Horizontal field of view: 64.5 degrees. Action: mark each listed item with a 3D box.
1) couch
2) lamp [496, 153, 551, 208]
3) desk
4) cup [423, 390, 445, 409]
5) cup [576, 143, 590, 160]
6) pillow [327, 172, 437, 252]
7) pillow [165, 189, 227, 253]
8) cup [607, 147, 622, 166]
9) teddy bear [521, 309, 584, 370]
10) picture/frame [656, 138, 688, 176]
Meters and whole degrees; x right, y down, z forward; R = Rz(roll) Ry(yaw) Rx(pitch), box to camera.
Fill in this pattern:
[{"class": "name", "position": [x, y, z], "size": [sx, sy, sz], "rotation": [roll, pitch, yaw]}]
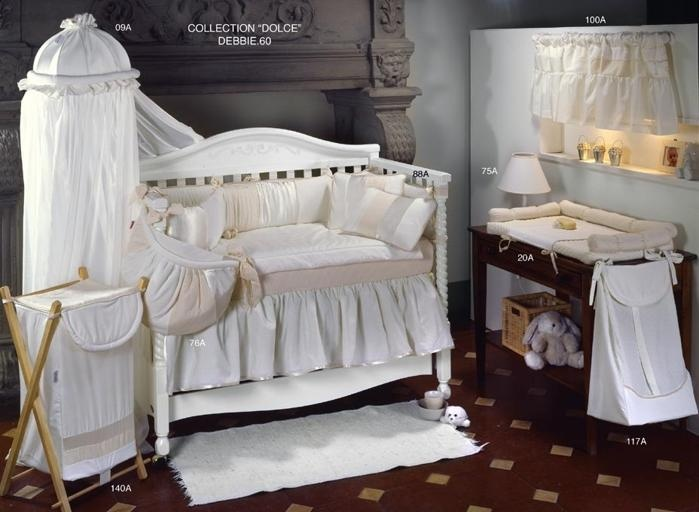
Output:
[{"class": "couch", "position": [-0.356, 0.002, 3.570], "size": [0.850, 1.500, 1.593], "rotation": [16, 22, 26]}, {"class": "lamp", "position": [1.087, -0.477, 3.538], "size": [0.282, 0.512, 0.289], "rotation": [-4, 9, -13]}, {"class": "desk", "position": [1.174, 0.393, 3.158], "size": [0.630, 0.996, 1.274], "rotation": [-13, 18, -37]}, {"class": "cup", "position": [0.494, 0.826, 3.228], "size": [0.094, 0.075, 0.088], "rotation": [-2, 7, 0]}, {"class": "cup", "position": [1.423, -0.631, 3.410], "size": [0.085, 0.123, 0.101], "rotation": [1, 4, 10]}, {"class": "pillow", "position": [0.220, -0.295, 3.368], "size": [0.662, 0.467, 0.192], "rotation": [21, 0, 42]}, {"class": "pillow", "position": [-0.812, -0.175, 3.040], "size": [0.149, 0.295, 0.536], "rotation": [0, 15, 7]}, {"class": "cup", "position": [1.548, -0.578, 3.237], "size": [0.078, 0.102, 0.097], "rotation": [5, 16, 25]}, {"class": "teddy bear", "position": [1.184, 0.485, 3.211], "size": [0.341, 0.344, 0.198], "rotation": [-5, 7, 16]}, {"class": "picture/frame", "position": [1.698, -0.517, 2.916], "size": [0.020, 0.200, 0.172], "rotation": [-3, 22, -20]}]
